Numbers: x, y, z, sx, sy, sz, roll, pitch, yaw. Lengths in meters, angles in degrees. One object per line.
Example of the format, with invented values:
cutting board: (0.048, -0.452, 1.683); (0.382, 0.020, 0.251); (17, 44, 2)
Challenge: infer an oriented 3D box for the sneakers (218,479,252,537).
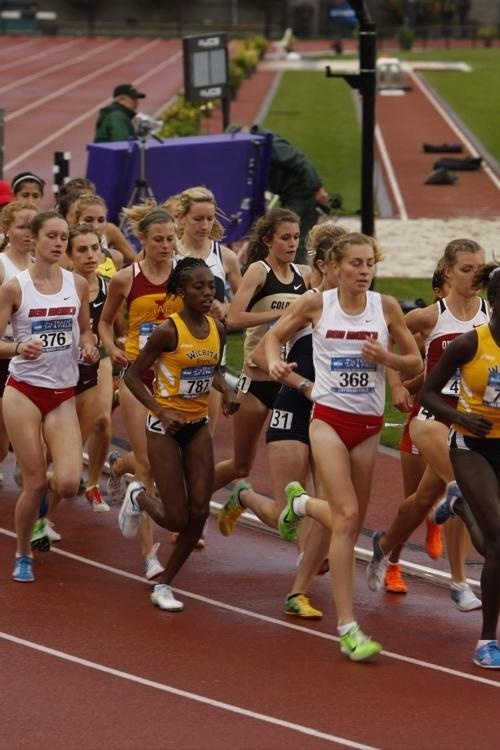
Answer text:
sneakers: (-0.117, 0.856, 4.561); (0.206, 0.405, 0.150); (14, 33, -8)

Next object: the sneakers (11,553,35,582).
sneakers: (-1.292, 1.111, 4.152); (0.090, 0.089, 0.213); (1, 0, -9)

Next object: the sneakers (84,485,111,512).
sneakers: (-1.151, 0.970, 5.656); (0.125, 0.128, 0.327); (-12, 22, -33)

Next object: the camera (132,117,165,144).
camera: (-1.428, -3.417, 10.086); (0.395, 0.389, 0.688); (4, 0, -9)

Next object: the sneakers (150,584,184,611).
sneakers: (-0.443, 1.178, 3.875); (0.108, 0.078, 0.199); (-4, 5, -36)

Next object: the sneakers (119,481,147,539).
sneakers: (-0.626, 0.722, 3.971); (0.158, 0.337, 0.124); (27, 33, 27)

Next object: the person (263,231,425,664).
person: (0.395, 0.290, 3.486); (0.759, 2.002, 0.724); (4, 0, 11)

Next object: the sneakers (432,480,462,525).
sneakers: (0.938, 0.619, 3.509); (0.108, 0.237, 0.083); (-34, 67, -31)

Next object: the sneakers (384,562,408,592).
sneakers: (0.877, 1.239, 4.453); (0.100, 0.111, 0.260); (1, -2, -7)

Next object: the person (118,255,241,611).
person: (-0.369, 0.326, 3.674); (0.529, 1.762, 0.401); (4, 0, -23)

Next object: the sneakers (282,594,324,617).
sneakers: (0.270, 1.219, 3.871); (0.259, 0.107, 0.097); (1, 2, 40)

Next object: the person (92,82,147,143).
person: (-2.023, -4.050, 11.201); (0.658, 0.957, 0.831); (4, 0, -13)

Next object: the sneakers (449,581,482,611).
sneakers: (1.136, 1.165, 3.829); (0.081, 0.094, 0.220); (-29, 0, -11)

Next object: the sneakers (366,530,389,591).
sneakers: (0.718, 1.041, 4.083); (0.127, 0.320, 0.145); (-1, 10, -10)
